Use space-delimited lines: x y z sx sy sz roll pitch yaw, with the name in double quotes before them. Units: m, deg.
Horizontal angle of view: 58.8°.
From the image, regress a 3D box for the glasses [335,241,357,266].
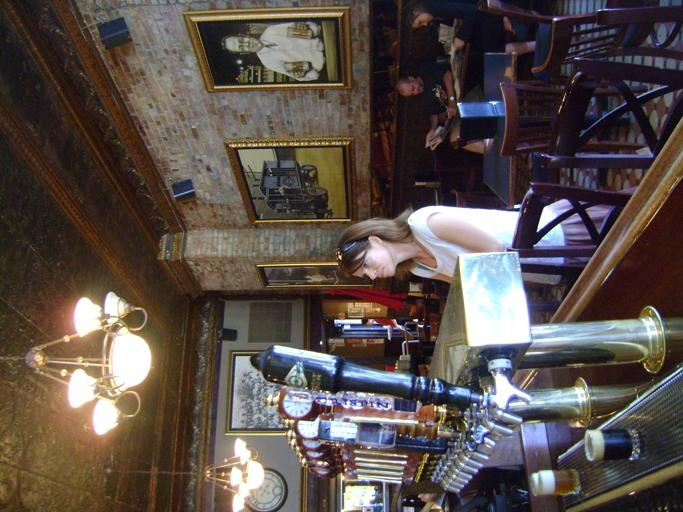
"glasses" 0.021 -0.036 3.294 0.096 0.124 0.106 -7 43 -23
